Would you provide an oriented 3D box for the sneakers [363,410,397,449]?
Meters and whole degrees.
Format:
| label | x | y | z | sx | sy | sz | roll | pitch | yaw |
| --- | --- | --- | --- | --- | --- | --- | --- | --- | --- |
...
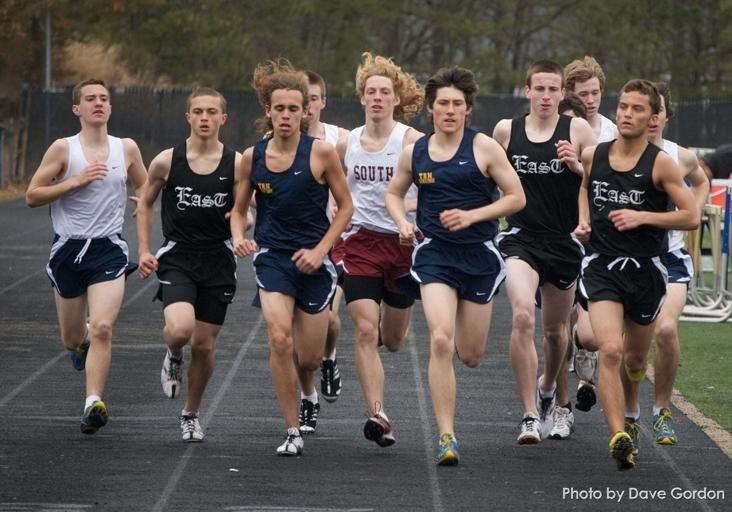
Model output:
| label | x | y | z | sx | sy | sz | roll | pitch | yaw |
| --- | --- | --- | --- | --- | --- | --- | --- | --- | --- |
| sneakers | 0.089 | 1.236 | 7.201 | 0.197 | 0.262 | 0.209 | 2 | 9 | 6 |

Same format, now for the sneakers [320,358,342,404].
| label | x | y | z | sx | sy | sz | roll | pitch | yaw |
| --- | --- | --- | --- | --- | --- | --- | --- | --- | --- |
| sneakers | -0.299 | 1.009 | 8.451 | 0.148 | 0.385 | 0.266 | 1 | 9 | -1 |

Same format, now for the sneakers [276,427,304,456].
| label | x | y | z | sx | sy | sz | roll | pitch | yaw |
| --- | --- | --- | --- | --- | --- | --- | --- | --- | --- |
| sneakers | -0.543 | 1.318 | 7.232 | 0.104 | 0.136 | 0.289 | 0 | -6 | 11 |

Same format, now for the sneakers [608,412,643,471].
| label | x | y | z | sx | sy | sz | roll | pitch | yaw |
| --- | --- | --- | --- | --- | --- | --- | --- | --- | --- |
| sneakers | 1.724 | 1.305 | 6.856 | 0.205 | 0.268 | 0.568 | -3 | -34 | 11 |

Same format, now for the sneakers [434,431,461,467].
| label | x | y | z | sx | sy | sz | roll | pitch | yaw |
| --- | --- | --- | --- | --- | --- | --- | --- | --- | --- |
| sneakers | 0.561 | 1.312 | 7.060 | 0.120 | 0.142 | 0.290 | 0 | 0 | 1 |

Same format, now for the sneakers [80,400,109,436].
| label | x | y | z | sx | sy | sz | roll | pitch | yaw |
| --- | --- | --- | --- | --- | --- | --- | --- | --- | --- |
| sneakers | -1.974 | 1.176 | 7.417 | 0.136 | 0.152 | 0.319 | 19 | -47 | -33 |

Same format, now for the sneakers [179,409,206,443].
| label | x | y | z | sx | sy | sz | roll | pitch | yaw |
| --- | --- | --- | --- | --- | --- | --- | --- | --- | --- |
| sneakers | -1.296 | 1.221 | 7.606 | 0.177 | 0.206 | 0.362 | -1 | 10 | -11 |

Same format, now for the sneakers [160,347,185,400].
| label | x | y | z | sx | sy | sz | roll | pitch | yaw |
| --- | --- | --- | --- | --- | --- | --- | --- | --- | --- |
| sneakers | -1.486 | 0.890 | 7.786 | 0.137 | 0.414 | 0.179 | 4 | 12 | -12 |

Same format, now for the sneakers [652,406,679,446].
| label | x | y | z | sx | sy | sz | roll | pitch | yaw |
| --- | --- | --- | --- | --- | --- | --- | --- | --- | --- |
| sneakers | 2.189 | 1.231 | 7.522 | 0.140 | 0.185 | 0.410 | 0 | 14 | 11 |
